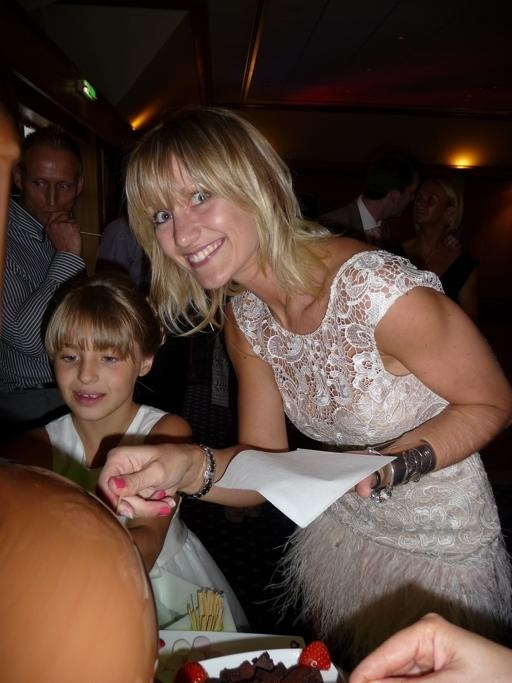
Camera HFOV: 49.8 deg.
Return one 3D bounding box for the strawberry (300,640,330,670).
[{"bbox_3d":[0.087,0.461,0.803,0.046,0.031,0.043,2,10,4],"label":"strawberry"}]
